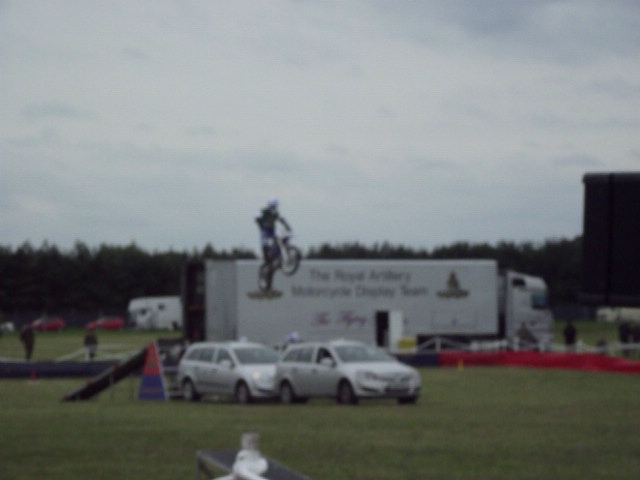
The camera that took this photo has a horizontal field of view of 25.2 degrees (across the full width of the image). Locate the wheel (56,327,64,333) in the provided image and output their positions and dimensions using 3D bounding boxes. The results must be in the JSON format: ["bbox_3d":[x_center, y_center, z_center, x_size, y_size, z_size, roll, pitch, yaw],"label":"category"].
[{"bbox_3d":[-16.046,5.636,88.626,0.236,0.337,0.462,-1,-2,7],"label":"wheel"}]

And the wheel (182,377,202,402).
[{"bbox_3d":[-3.658,4.286,41.042,0.216,0.718,0.668,4,-3,-26],"label":"wheel"}]

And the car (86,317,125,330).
[{"bbox_3d":[-13.488,5.285,90.055,2.336,0.804,2.462,1,-5,-10],"label":"car"}]

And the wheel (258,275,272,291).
[{"bbox_3d":[-2.008,1.509,50.534,0.505,0.733,0.125,0,-13,-6],"label":"wheel"}]

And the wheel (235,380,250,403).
[{"bbox_3d":[-2.176,4.235,40.009,0.195,0.662,0.619,0,0,-21],"label":"wheel"}]

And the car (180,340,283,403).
[{"bbox_3d":[-2.540,3.776,40.940,3.133,1.691,1.536,-3,-6,34],"label":"car"}]

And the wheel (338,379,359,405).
[{"bbox_3d":[0.744,4.159,39.237,0.257,0.724,0.682,2,-3,-17],"label":"wheel"}]

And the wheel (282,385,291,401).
[{"bbox_3d":[-0.971,4.271,39.989,0.133,0.433,0.405,2,-4,-20],"label":"wheel"}]
